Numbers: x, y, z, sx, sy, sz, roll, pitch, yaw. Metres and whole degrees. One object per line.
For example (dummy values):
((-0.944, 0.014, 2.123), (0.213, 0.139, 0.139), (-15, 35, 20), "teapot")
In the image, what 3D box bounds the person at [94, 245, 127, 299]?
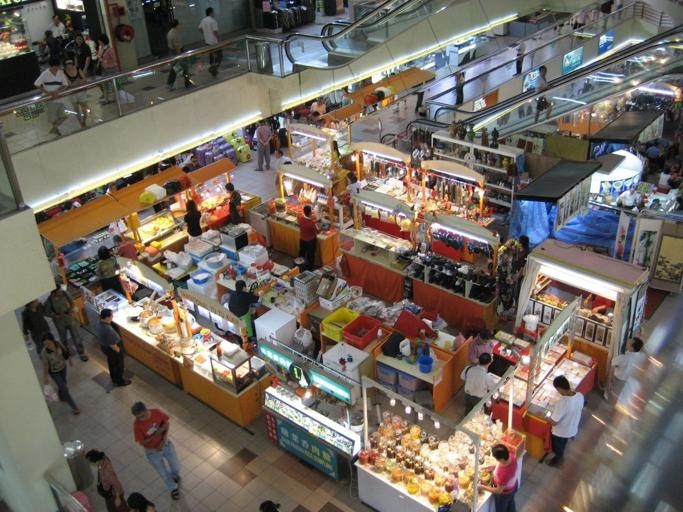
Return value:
((-5.083, 0.456, 11.816), (0.486, 1.509, 0.474), (-24, 43, -33), "person")

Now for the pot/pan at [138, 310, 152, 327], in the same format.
((-3.917, 1.246, 10.763), (0.252, 0.224, 0.273), (-16, 32, -31), "pot/pan")

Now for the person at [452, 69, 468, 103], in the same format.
((4.138, -5.855, 18.842), (0.347, 1.040, 0.808), (6, 30, 10), "person")

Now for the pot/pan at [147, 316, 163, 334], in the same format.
((-3.654, 1.354, 10.658), (0.279, 0.275, 0.287), (-14, 29, -16), "pot/pan")

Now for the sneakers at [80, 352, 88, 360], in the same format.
((-5.354, 2.085, 11.213), (0.183, 0.074, 0.083), (27, 44, 37), "sneakers")

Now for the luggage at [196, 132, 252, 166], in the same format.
((-3.937, -3.481, 17.870), (1.277, 0.854, 1.367), (7, 41, 42), "luggage")

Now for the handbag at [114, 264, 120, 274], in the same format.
((-4.841, 0.283, 11.643), (0.132, 0.198, 0.062), (6, 5, -1), "handbag")

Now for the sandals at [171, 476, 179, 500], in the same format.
((-2.702, 3.762, 8.804), (0.101, 0.110, 0.313), (-4, 67, -23), "sandals")

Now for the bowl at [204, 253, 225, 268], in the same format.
((-2.776, 0.055, 11.835), (0.299, 0.150, 0.352), (24, 50, 34), "bowl")

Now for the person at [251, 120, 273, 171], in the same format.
((-2.561, -3.533, 17.215), (0.549, 1.653, 0.589), (-17, 29, -37), "person")

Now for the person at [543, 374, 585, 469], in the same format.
((3.551, 2.606, 8.703), (0.491, 1.557, 0.578), (16, 33, 26), "person")

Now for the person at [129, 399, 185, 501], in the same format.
((-2.915, 3.006, 8.500), (0.563, 1.790, 0.565), (-5, 29, -9), "person")
